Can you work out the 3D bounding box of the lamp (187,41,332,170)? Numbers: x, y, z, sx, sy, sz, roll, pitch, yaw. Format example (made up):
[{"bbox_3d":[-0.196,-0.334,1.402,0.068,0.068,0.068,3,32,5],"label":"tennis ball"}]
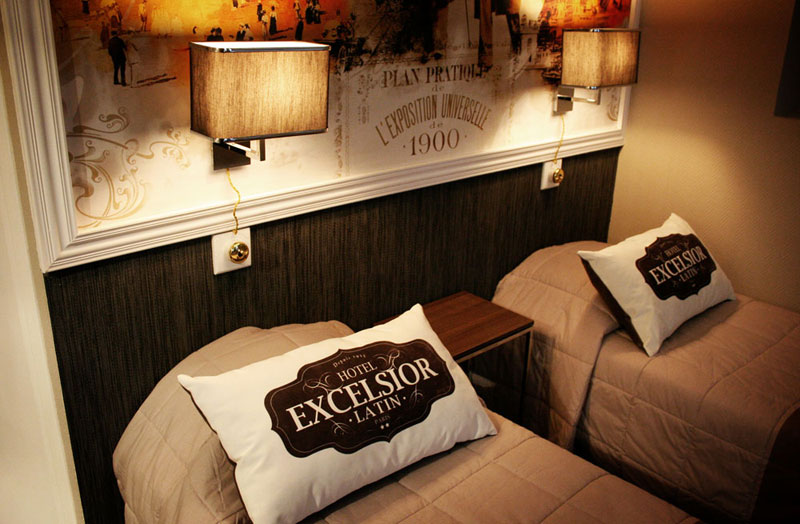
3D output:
[{"bbox_3d":[-0.537,-0.556,2.051,0.466,0.492,0.318,-20,35,-41],"label":"lamp"}]

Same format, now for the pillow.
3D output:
[{"bbox_3d":[1.402,0.073,2.883,0.960,0.427,0.418,-19,25,-33],"label":"pillow"}]

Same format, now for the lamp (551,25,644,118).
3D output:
[{"bbox_3d":[1.059,-0.993,2.892,0.361,0.416,0.314,-1,24,6],"label":"lamp"}]
